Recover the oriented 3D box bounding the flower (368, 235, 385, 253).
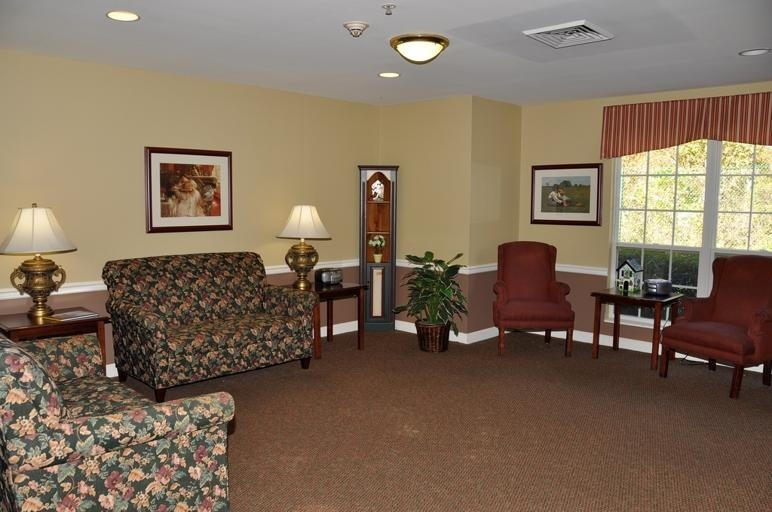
[{"bbox_3d":[-0.137,-0.168,7.129,0.254,0.239,0.245,1,5,-1],"label":"flower"}]

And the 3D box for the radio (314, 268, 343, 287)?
[{"bbox_3d":[-0.708,0.258,6.433,0.330,0.218,0.223,2,6,-19],"label":"radio"}]

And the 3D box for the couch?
[{"bbox_3d":[-1.845,0.620,5.525,1.125,1.138,1.961,9,8,39],"label":"couch"}]

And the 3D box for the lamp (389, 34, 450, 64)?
[{"bbox_3d":[0.281,-1.774,4.402,0.477,0.203,0.255,0,12,1],"label":"lamp"}]

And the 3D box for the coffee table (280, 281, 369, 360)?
[{"bbox_3d":[-0.747,0.668,6.408,0.878,0.858,0.981,4,6,44],"label":"coffee table"}]

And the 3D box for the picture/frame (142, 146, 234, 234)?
[{"bbox_3d":[-2.264,-0.750,5.773,1.074,0.955,0.071,-3,3,-40],"label":"picture/frame"}]

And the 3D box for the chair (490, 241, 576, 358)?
[{"bbox_3d":[1.831,0.497,6.500,0.932,1.220,1.055,1,8,6],"label":"chair"}]

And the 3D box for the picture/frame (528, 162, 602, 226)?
[{"bbox_3d":[2.440,-0.839,6.870,0.946,0.774,0.068,0,3,32],"label":"picture/frame"}]

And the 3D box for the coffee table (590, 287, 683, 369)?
[{"bbox_3d":[2.973,0.839,6.155,0.945,0.744,0.933,3,1,28],"label":"coffee table"}]

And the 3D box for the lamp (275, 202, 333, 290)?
[{"bbox_3d":[-1.034,-0.097,6.338,0.751,1.025,0.767,3,0,41],"label":"lamp"}]

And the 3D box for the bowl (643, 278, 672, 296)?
[{"bbox_3d":[3.161,0.350,5.934,0.227,0.125,0.220,0,-1,0],"label":"bowl"}]

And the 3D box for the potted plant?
[{"bbox_3d":[0.746,0.508,7.047,1.209,1.492,1.211,-1,7,-7],"label":"potted plant"}]

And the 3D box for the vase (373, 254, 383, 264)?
[{"bbox_3d":[-0.106,0.038,7.170,0.136,0.101,0.129,6,-7,-39],"label":"vase"}]
